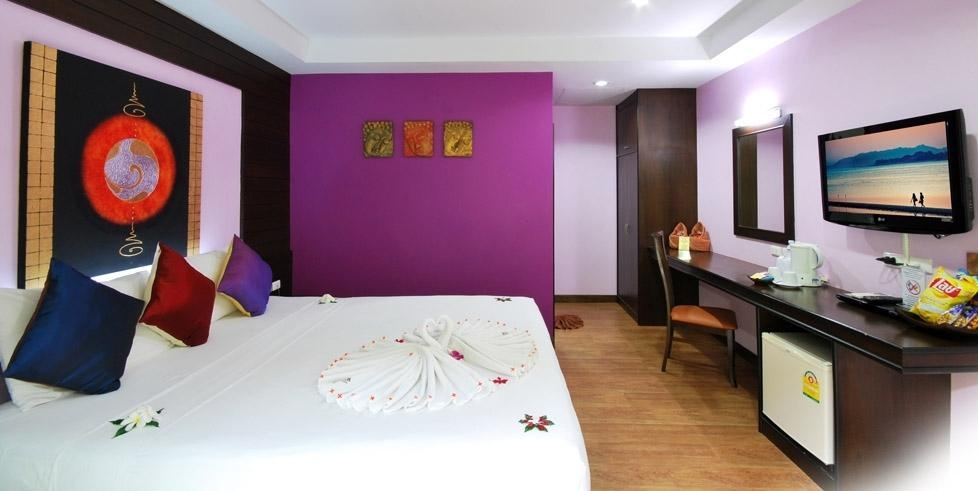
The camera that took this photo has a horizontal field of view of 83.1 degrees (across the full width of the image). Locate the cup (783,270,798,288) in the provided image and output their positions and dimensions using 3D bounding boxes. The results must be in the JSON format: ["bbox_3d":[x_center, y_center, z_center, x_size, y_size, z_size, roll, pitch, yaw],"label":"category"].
[{"bbox_3d":[2.974,0.345,5.543,0.127,0.138,0.164,0,-3,-32],"label":"cup"}]

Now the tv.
[{"bbox_3d":[3.789,-0.678,5.086,0.486,1.009,1.285,-5,-3,-38],"label":"tv"}]

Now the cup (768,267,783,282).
[{"bbox_3d":[2.880,0.291,5.561,0.135,0.137,0.112,-4,3,27],"label":"cup"}]

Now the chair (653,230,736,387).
[{"bbox_3d":[2.392,0.679,6.305,1.047,1.332,0.917,3,8,17],"label":"chair"}]
